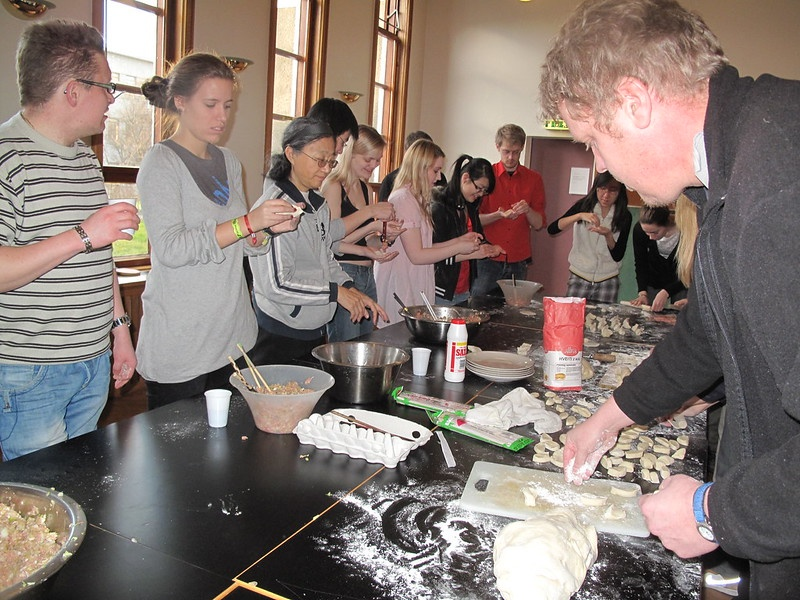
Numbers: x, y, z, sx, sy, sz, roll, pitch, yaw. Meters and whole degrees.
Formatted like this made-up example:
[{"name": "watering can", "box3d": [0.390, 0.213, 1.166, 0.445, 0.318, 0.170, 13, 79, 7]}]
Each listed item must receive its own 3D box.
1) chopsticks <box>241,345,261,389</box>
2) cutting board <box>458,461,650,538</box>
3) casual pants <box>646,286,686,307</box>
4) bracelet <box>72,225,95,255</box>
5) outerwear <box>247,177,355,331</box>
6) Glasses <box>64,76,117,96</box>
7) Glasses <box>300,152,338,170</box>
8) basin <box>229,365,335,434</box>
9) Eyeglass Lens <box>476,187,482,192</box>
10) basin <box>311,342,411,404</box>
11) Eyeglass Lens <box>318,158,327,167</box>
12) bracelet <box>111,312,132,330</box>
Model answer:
[{"name": "chopsticks", "box3d": [-0.544, 0.240, 2.017, 0.029, 0.144, 0.011, -33, 19, -14]}, {"name": "cutting board", "box3d": [0.380, 0.486, 1.387, 0.317, 0.014, 0.181, 5, 8, 17]}, {"name": "casual pants", "box3d": [2.074, -0.032, 4.359, 0.220, 0.219, 0.078, 23, 24, 20]}, {"name": "bracelet", "box3d": [-0.986, -0.192, 1.738, 0.054, 0.080, 0.035, 0, 15, -16]}, {"name": "outerwear", "box3d": [-0.465, -0.203, 2.616, 0.413, 0.608, 0.769, 4, 18, 12]}, {"name": "Glasses", "box3d": [-1.014, -0.693, 1.809, 0.113, 0.032, 0.112, 2, 8, -21]}, {"name": "Glasses", "box3d": [-0.380, -0.643, 2.560, 0.089, 0.027, 0.086, 31, 18, 19]}, {"name": "basin", "box3d": [-0.361, 0.323, 1.699, 0.313, 0.132, 0.292, 4, -5, 0]}, {"name": "Eyeglass Lens", "box3d": [0.592, -0.837, 4.227, 0.034, 0.032, 0.027, -8, -1, 37]}, {"name": "basin", "box3d": [-0.147, 0.252, 1.963, 0.352, 0.142, 0.344, 3, 11, 0]}, {"name": "Eyeglass Lens", "box3d": [-0.353, -0.626, 2.534, 0.034, 0.011, 0.033, 23, 11, 33]}, {"name": "bracelet", "box3d": [-1.129, 0.085, 2.237, 0.072, 0.047, 0.077, -9, 7, -1]}]
